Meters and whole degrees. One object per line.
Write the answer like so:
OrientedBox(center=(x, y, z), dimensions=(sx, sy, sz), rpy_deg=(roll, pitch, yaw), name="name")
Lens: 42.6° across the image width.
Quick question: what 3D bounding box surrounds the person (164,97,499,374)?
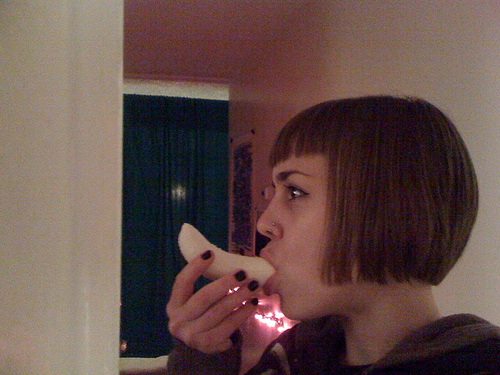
OrientedBox(center=(0.296, 0.183, 2.370), dimensions=(1.044, 0.978, 0.751), rpy_deg=(5, -6, -2), name="person")
